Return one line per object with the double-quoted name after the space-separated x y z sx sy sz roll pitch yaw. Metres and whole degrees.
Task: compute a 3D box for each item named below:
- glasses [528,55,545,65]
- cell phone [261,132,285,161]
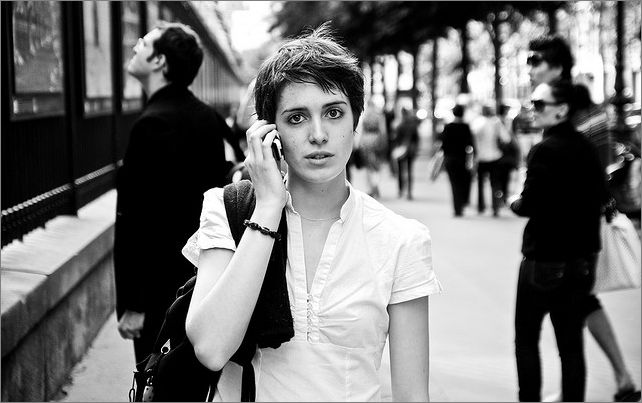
1.844 -1.219 4.999 0.101 0.062 0.044 6 -6 24 "glasses"
-0.199 -0.235 2.422 0.030 0.111 0.080 -11 10 -6 "cell phone"
